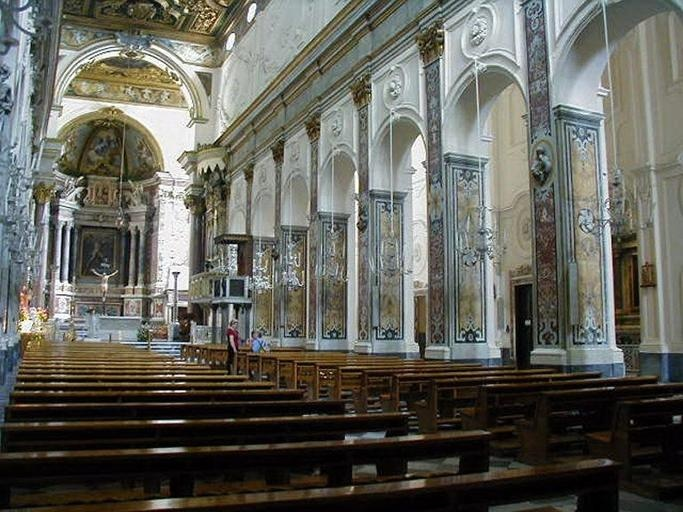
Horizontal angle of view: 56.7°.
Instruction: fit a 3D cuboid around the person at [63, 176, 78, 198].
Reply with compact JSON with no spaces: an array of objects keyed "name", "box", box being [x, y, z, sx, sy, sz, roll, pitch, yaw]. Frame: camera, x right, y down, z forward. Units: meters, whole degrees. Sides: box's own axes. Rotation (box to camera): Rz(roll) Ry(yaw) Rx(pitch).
[{"name":"person","box":[-14.150,-3.593,33.427,0.385,1.182,1.101,0,-8,0]}]
